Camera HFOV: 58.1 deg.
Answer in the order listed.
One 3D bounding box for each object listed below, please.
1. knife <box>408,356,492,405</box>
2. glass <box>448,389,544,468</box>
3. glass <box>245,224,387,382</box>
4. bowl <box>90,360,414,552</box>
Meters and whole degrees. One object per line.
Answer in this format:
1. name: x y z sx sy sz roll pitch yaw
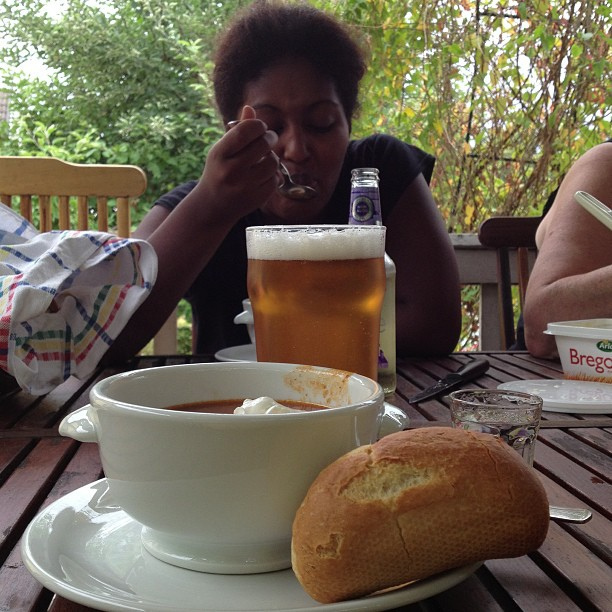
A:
1. knife: 0.223 0.087 0.788 0.049 0.034 0.312 5 10 32
2. glass: 0.152 0.097 0.504 0.084 0.078 0.078 -2 2 -8
3. glass: 0.012 -0.002 0.602 0.171 0.221 0.156 -1 -1 -3
4. bowl: -0.036 0.096 0.366 0.195 0.089 0.184 2 3 0
